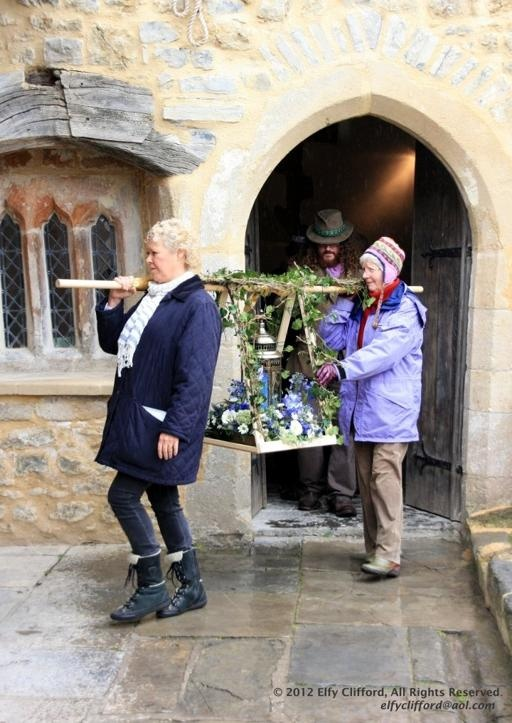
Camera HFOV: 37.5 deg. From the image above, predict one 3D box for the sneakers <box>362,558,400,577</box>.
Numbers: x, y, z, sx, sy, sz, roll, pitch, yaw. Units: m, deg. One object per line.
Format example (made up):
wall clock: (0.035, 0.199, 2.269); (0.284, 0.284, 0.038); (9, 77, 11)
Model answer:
sneakers: (0.559, 0.935, 3.419); (0.193, 0.069, 0.076); (10, 11, -5)

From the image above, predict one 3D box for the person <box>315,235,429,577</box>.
person: (0.534, 0.209, 3.493); (0.494, 1.535, 0.529); (-1, 7, 0)

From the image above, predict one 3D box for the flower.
flower: (0.067, 0.187, 3.222); (0.546, 0.306, 0.445); (-1, 6, -7)

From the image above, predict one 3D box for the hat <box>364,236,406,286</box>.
hat: (0.604, -0.469, 3.464); (0.238, 0.226, 0.210); (-1, 7, -14)

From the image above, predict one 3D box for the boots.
boots: (-0.388, 0.895, 3.095); (0.514, 0.293, 0.175); (-1, -3, -42)

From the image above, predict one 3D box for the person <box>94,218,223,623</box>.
person: (-0.386, 0.243, 2.908); (0.509, 1.567, 0.414); (0, 7, 4)
